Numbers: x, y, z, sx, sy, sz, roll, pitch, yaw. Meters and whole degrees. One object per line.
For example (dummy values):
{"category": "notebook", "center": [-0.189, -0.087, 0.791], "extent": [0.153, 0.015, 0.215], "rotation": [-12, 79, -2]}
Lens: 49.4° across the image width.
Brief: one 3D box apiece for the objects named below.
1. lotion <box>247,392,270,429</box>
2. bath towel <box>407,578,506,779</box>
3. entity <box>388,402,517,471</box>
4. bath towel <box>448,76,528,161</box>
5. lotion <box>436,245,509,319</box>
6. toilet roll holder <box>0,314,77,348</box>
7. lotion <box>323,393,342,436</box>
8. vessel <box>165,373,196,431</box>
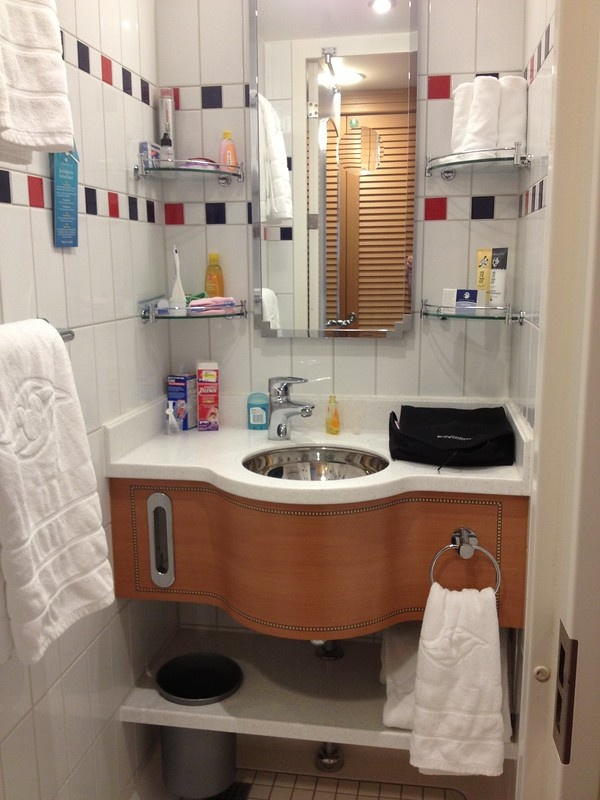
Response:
{"category": "lotion", "center": [-0.131, 0.036, 2.073], "extent": [0.086, 0.167, 0.093], "rotation": [0, 2, -2]}
{"category": "bath towel", "center": [0.385, 0.589, 1.597], "extent": [0.203, 0.106, 0.402], "rotation": [10, 13, 13]}
{"category": "entity", "center": [0.413, 0.098, 1.810], "extent": [0.333, 0.145, 0.321], "rotation": [2, 4, 11]}
{"category": "bath towel", "center": [0.492, -0.740, 1.798], "extent": [0.182, 0.285, 0.217], "rotation": [-1, 8, 0]}
{"category": "lotion", "center": [0.468, -0.332, 1.902], "extent": [0.192, 0.310, 0.198], "rotation": [0, 10, -3]}
{"category": "toilet roll holder", "center": [-0.559, -0.148, 1.447], "extent": [0.034, 0.033, 0.150], "rotation": [-8, -9, 21]}
{"category": "lotion", "center": [0.106, 0.050, 2.043], "extent": [0.045, 0.123, 0.064], "rotation": [1, 4, 3]}
{"category": "vessel", "center": [-0.366, 0.012, 2.043], "extent": [0.103, 0.173, 0.079], "rotation": [0, 4, -23]}
